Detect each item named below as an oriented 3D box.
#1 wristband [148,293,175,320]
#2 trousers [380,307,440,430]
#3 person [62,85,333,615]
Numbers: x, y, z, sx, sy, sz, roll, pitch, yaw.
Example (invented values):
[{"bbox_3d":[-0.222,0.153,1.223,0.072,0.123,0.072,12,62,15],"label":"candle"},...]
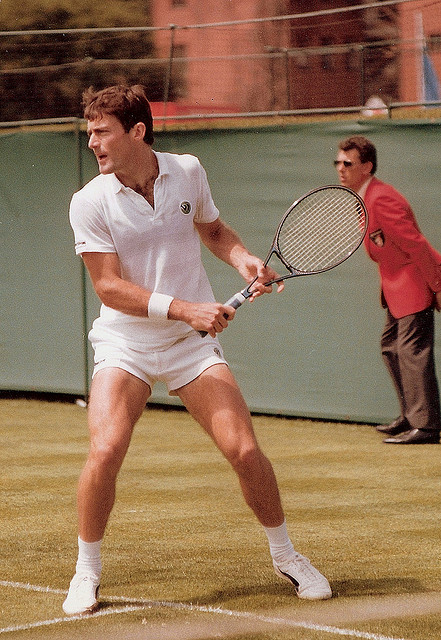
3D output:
[{"bbox_3d":[-0.175,-0.042,2.499,0.062,0.075,0.066,7,35,-9],"label":"wristband"},{"bbox_3d":[1.066,0.254,4.818,0.364,0.688,0.152,7,15,39],"label":"trousers"},{"bbox_3d":[-0.136,0.073,2.684,0.832,1.603,0.672,-5,11,-11],"label":"person"}]
